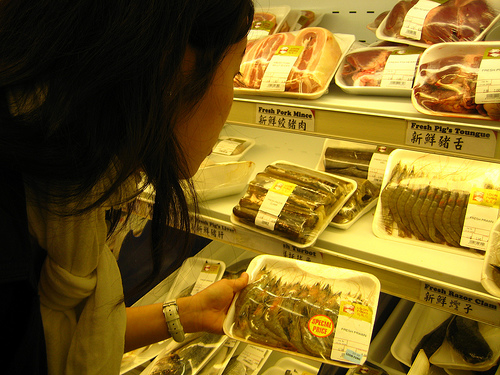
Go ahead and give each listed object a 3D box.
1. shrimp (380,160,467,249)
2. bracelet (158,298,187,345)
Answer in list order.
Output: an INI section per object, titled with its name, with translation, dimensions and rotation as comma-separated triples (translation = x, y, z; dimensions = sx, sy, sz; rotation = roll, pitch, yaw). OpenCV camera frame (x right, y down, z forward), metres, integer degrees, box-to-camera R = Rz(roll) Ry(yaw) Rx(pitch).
[shrimp]
translation = 0.565, 0.060, 1.186
dimensions = 0.248, 0.219, 0.068
rotation = 12, -9, 37
[bracelet]
translation = -0.268, 0.452, 1.305
dimensions = 0.079, 0.138, 0.129
rotation = -13, 33, -10
